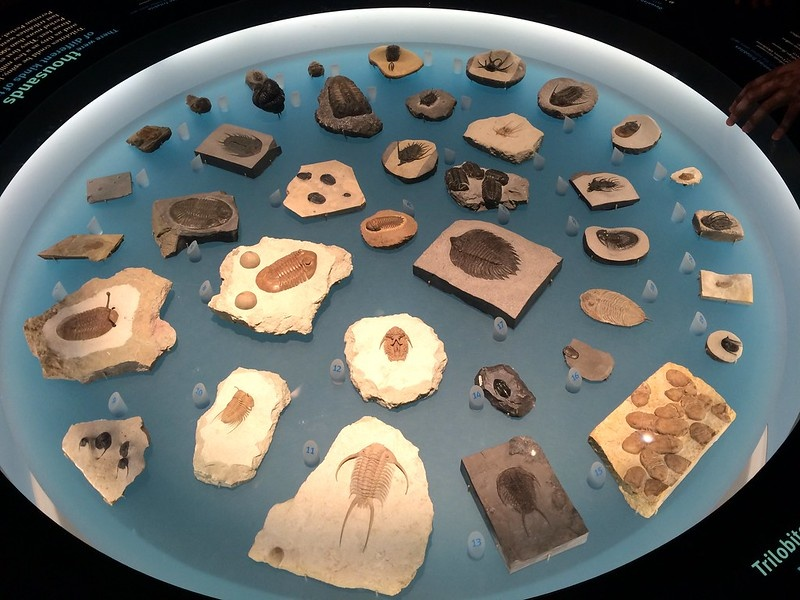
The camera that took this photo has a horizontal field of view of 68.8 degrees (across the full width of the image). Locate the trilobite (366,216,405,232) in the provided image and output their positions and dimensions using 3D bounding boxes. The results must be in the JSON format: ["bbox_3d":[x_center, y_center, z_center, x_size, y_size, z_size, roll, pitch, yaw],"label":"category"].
[{"bbox_3d":[-0.233,-1.179,8.935,0.418,0.098,0.290,-7,69,0],"label":"trilobite"}]

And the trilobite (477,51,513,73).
[{"bbox_3d":[1.810,-4.527,11.102,0.652,0.240,0.534,3,81,-2],"label":"trilobite"}]

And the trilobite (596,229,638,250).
[{"bbox_3d":[3.176,-0.902,8.628,0.413,0.094,0.333,21,54,22],"label":"trilobite"}]

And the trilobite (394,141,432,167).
[{"bbox_3d":[0.220,-2.466,9.713,0.389,0.116,0.409,-12,45,-7],"label":"trilobite"}]

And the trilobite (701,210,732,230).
[{"bbox_3d":[4.729,-1.181,8.776,0.292,0.096,0.328,19,65,16],"label":"trilobite"}]

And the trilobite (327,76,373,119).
[{"bbox_3d":[-0.938,-3.590,10.097,0.629,1.149,0.370,-2,87,5],"label":"trilobite"}]

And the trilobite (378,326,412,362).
[{"bbox_3d":[-0.043,0.614,7.806,0.325,0.089,0.399,-1,66,1],"label":"trilobite"}]

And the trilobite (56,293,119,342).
[{"bbox_3d":[-4.223,0.253,7.855,0.595,0.243,0.451,-16,65,-10],"label":"trilobite"}]

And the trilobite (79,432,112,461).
[{"bbox_3d":[-3.684,1.789,7.121,0.372,0.067,0.292,-11,82,-4],"label":"trilobite"}]

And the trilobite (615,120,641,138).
[{"bbox_3d":[3.849,-2.904,9.919,0.377,0.096,0.266,-37,62,-8],"label":"trilobite"}]

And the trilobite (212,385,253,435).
[{"bbox_3d":[-2.032,1.386,7.332,0.309,0.155,0.472,38,82,4],"label":"trilobite"}]
